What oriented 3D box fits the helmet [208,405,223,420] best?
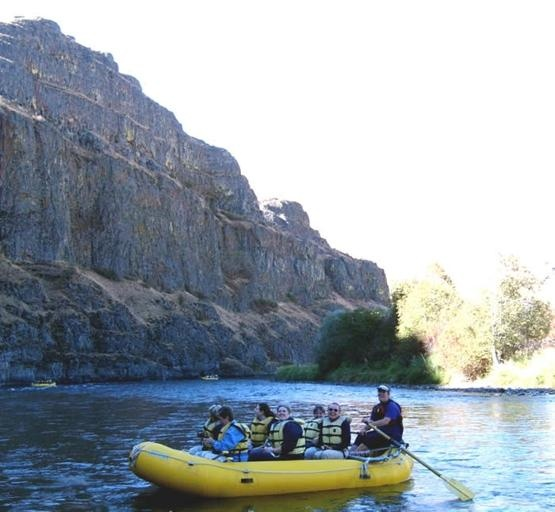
[{"bbox_3d":[-2.102,5.436,29.926,0.437,0.640,0.557,2,12,-7],"label":"helmet"}]
